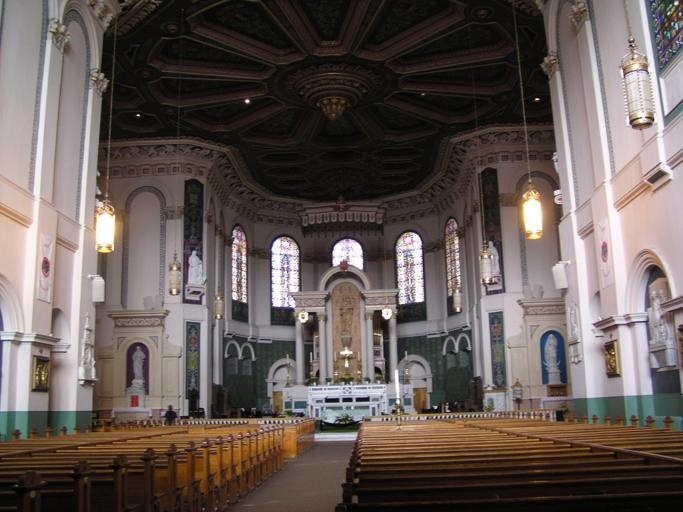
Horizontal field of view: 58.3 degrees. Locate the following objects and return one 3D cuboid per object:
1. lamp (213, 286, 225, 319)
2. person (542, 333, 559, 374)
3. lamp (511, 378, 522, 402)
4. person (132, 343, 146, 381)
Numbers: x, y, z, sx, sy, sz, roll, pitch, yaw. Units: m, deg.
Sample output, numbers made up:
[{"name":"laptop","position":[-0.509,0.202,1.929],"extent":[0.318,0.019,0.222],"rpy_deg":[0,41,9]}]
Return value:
[{"name":"lamp","position":[-4.420,1.771,22.073],"extent":[0.264,0.928,0.350],"rpy_deg":[-2,-16,-3]},{"name":"person","position":[7.306,3.318,21.389],"extent":[0.501,1.188,0.317],"rpy_deg":[-9,-17,18]},{"name":"lamp","position":[6.035,4.634,21.081],"extent":[0.416,0.807,0.893],"rpy_deg":[-7,-16,14]},{"name":"person","position":[-7.281,3.842,22.015],"extent":[0.472,1.282,0.282],"rpy_deg":[1,-17,-13]}]
